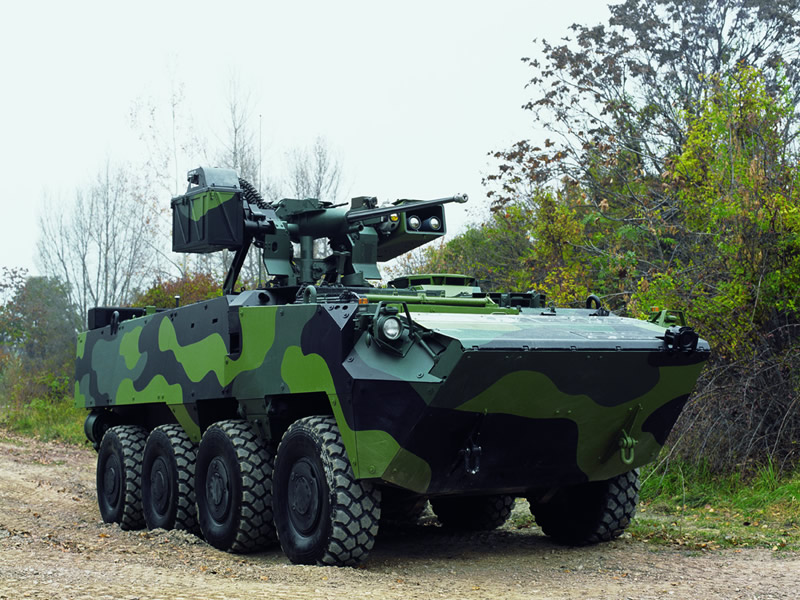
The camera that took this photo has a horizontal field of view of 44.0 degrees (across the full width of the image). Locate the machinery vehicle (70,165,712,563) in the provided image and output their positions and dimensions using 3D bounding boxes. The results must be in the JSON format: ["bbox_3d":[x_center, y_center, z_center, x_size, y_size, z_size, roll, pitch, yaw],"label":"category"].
[{"bbox_3d":[-0.474,1.045,11.720,3.569,4.223,6.645,6,-12,-35],"label":"machinery vehicle"}]
